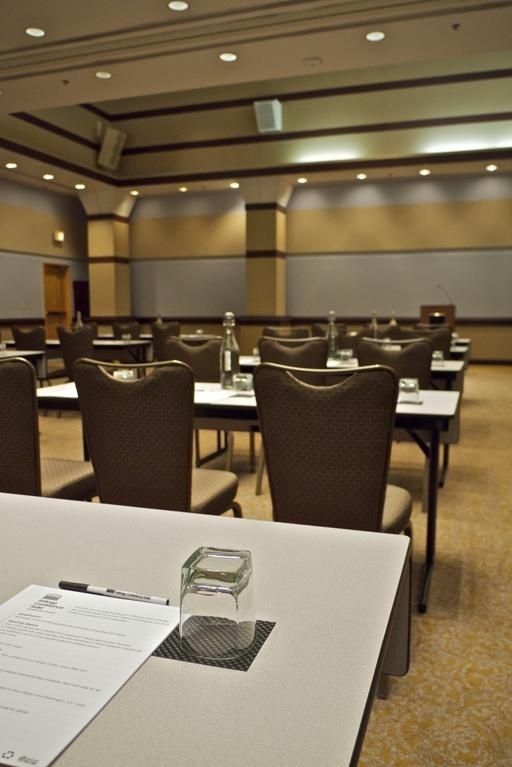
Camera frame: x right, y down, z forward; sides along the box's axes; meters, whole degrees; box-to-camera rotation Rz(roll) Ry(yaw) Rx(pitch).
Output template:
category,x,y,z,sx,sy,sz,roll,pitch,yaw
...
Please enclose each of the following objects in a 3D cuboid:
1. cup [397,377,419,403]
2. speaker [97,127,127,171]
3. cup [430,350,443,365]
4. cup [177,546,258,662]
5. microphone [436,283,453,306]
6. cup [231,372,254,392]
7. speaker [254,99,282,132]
category,x,y,z,sx,sy,sz,roll,pitch,yaw
cup,0.560,0.014,2.101,0.094,0.099,0.103,0,4,0
speaker,-2.545,-4.129,9.939,0.511,0.593,0.678,-8,8,-26
cup,1.114,-0.158,3.480,0.098,0.103,0.075,7,15,34
cup,-0.033,0.191,0.490,0.057,0.067,0.058,2,4,0
microphone,3.385,-1.623,10.104,0.290,0.381,0.078,1,9,35
cup,-0.052,-0.009,2.362,0.074,0.078,0.077,0,1,0
speaker,0.197,-4.111,8.671,0.390,0.518,0.401,5,23,27
